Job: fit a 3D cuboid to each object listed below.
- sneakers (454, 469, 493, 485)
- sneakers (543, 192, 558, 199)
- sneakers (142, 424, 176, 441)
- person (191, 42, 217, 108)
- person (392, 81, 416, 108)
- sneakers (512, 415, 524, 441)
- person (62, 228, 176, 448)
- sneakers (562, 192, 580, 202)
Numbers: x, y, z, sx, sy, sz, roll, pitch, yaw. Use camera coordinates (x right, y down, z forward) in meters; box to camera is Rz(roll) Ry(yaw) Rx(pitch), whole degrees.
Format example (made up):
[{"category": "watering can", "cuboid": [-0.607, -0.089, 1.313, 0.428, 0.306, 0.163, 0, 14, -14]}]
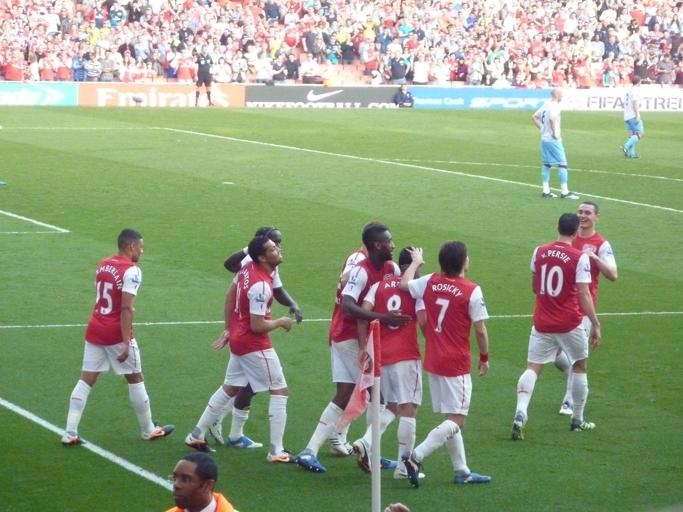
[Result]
[{"category": "sneakers", "cuboid": [1.593, 2.687, 16.364, 0.458, 0.191, 0.166, -1, 2, 4]}, {"category": "sneakers", "cuboid": [4.443, -1.277, 28.760, 0.302, 0.127, 0.110, 0, 14, -7]}, {"category": "sneakers", "cuboid": [-2.339, 2.264, 17.180, 0.332, 0.140, 0.171, -17, 28, -12]}, {"category": "person", "cuboid": [-4.408, -5.688, 42.745, 0.594, 1.897, 1.381, 0, 7, -7]}, {"category": "person", "cuboid": [2.054, -5.345, 44.740, 0.847, 1.184, 0.691, 0, 3, -4]}, {"category": "sneakers", "cuboid": [2.255, 2.213, 17.239, 0.127, 0.345, 0.156, 0, 1, 13]}, {"category": "person", "cuboid": [-2.874, 1.021, 17.012, 1.230, 2.662, 0.487, -1, 7, -10]}, {"category": "sneakers", "cuboid": [4.861, -1.239, 28.686, 0.443, 0.188, 0.158, 1, 9, -13]}]
